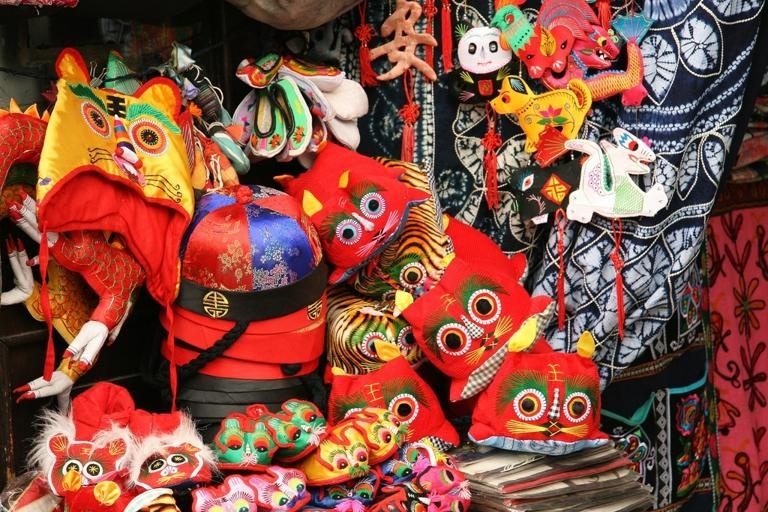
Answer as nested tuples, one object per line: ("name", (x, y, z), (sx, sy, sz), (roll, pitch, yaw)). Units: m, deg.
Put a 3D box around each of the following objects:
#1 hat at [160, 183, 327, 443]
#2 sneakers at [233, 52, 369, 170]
("hat", (-0.341, 0.048, 2.832), (0.564, 0.928, 0.741), (1, 12, -2))
("sneakers", (-0.245, -0.450, 2.665), (0.375, 0.298, 0.147), (7, -8, 5))
